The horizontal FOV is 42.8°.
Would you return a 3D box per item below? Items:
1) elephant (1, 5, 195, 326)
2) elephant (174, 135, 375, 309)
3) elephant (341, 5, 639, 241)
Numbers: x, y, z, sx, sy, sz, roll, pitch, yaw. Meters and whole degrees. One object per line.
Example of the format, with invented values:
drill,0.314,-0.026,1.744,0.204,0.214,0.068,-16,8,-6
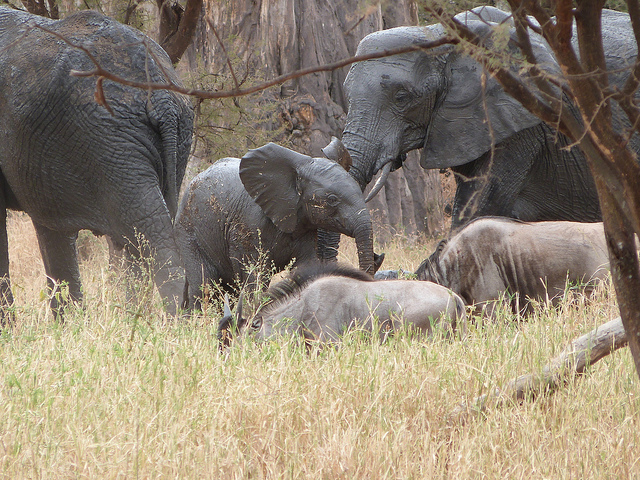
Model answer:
elephant,-1.697,-0.610,5.947,1.396,2.329,1.165,-2,4,6
elephant,-0.367,-0.054,6.201,1.882,1.357,1.092,2,5,29
elephant,1.265,-0.949,6.339,2.196,1.733,0.657,-3,4,1
